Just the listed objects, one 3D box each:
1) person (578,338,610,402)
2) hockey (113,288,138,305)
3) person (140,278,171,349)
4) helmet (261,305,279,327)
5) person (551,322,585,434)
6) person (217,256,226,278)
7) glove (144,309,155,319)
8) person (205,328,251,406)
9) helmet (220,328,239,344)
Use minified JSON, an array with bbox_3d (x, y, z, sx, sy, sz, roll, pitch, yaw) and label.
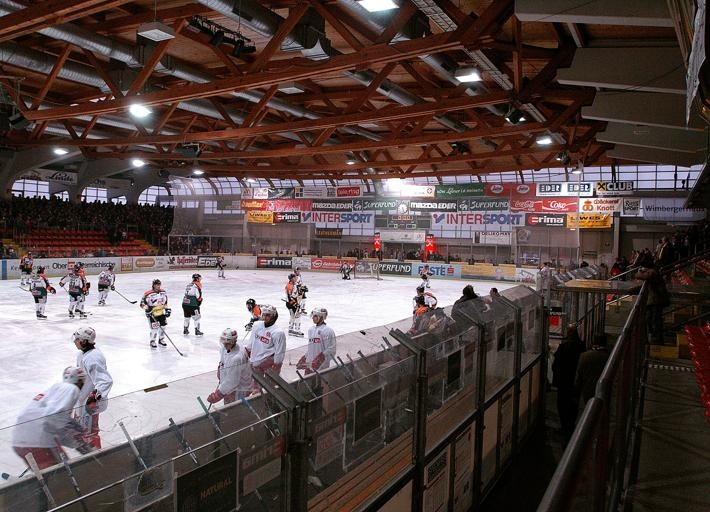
[{"bbox_3d":[3.721,1.864,7.936,0.419,1.119,0.929,1,3,30],"label":"person"},{"bbox_3d":[-10.835,1.912,23.683,0.555,0.396,2.957,2,3,-42],"label":"hockey"},{"bbox_3d":[-5.724,1.632,14.452,0.690,1.910,1.350,-2,3,-21],"label":"person"},{"bbox_3d":[-1.555,1.091,9.216,0.292,0.338,0.356,1,-6,-1],"label":"helmet"},{"bbox_3d":[3.819,2.238,9.007,0.504,1.947,0.739,0,3,22],"label":"person"},{"bbox_3d":[-9.608,0.794,36.069,0.406,1.396,1.367,-2,3,-18],"label":"person"},{"bbox_3d":[-5.693,1.616,13.933,0.110,0.290,0.384,-4,4,-40],"label":"glove"},{"bbox_3d":[-2.077,1.787,8.176,0.602,0.654,1.570,-4,-21,-19],"label":"person"},{"bbox_3d":[-2.026,1.280,8.102,0.222,0.242,0.287,2,-6,25],"label":"helmet"}]
